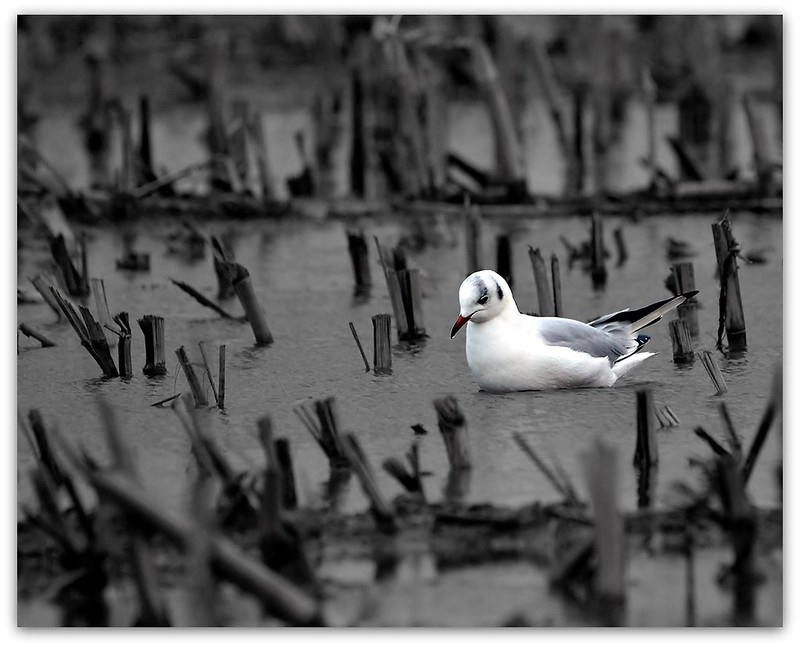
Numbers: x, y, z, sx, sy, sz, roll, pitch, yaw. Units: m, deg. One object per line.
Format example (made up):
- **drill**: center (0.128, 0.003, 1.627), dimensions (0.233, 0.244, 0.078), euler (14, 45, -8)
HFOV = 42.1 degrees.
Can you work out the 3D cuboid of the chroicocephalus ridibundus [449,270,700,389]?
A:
- **chroicocephalus ridibundus**: center (0.764, 0.039, 5.193), dimensions (1.154, 0.593, 0.285), euler (-2, -6, -21)
